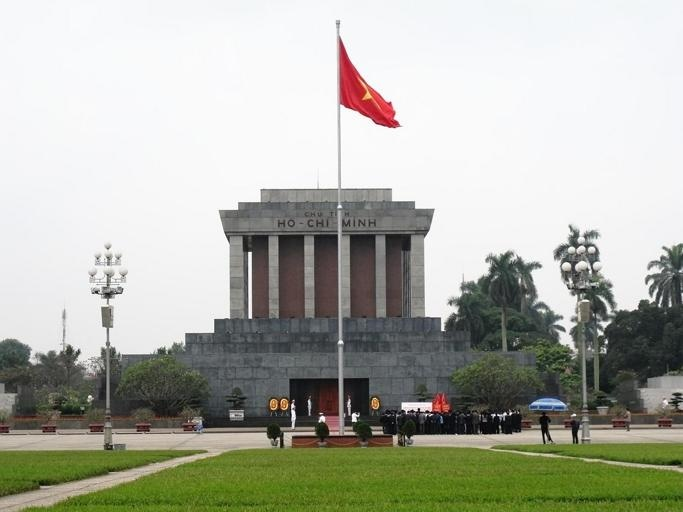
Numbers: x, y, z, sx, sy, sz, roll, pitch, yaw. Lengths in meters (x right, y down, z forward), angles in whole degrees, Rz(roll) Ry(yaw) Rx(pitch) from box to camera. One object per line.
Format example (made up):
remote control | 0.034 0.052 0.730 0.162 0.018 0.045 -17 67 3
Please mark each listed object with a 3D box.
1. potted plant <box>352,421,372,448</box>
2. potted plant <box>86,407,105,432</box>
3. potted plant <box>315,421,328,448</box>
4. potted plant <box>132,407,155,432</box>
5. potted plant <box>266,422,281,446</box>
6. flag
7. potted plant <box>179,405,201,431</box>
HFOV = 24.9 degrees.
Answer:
potted plant | 1.242 10.968 95.013 1.285 1.581 1.239 2 -2 -34
potted plant | -18.732 12.376 116.555 1.785 2.291 1.830 -2 -4 -7
potted plant | -1.121 10.914 94.854 0.785 1.405 0.499 -1 -13 -6
potted plant | -14.769 12.275 115.097 1.469 1.676 1.525 2 -6 -5
potted plant | -4.097 11.156 95.984 0.830 1.515 2.808 -1 -13 -3
flag | 1.443 -10.485 97.319 3.185 4.864 0.900 0 -13 -9
potted plant | -11.343 12.232 117.011 0.903 1.249 2.565 -1 -13 -1
